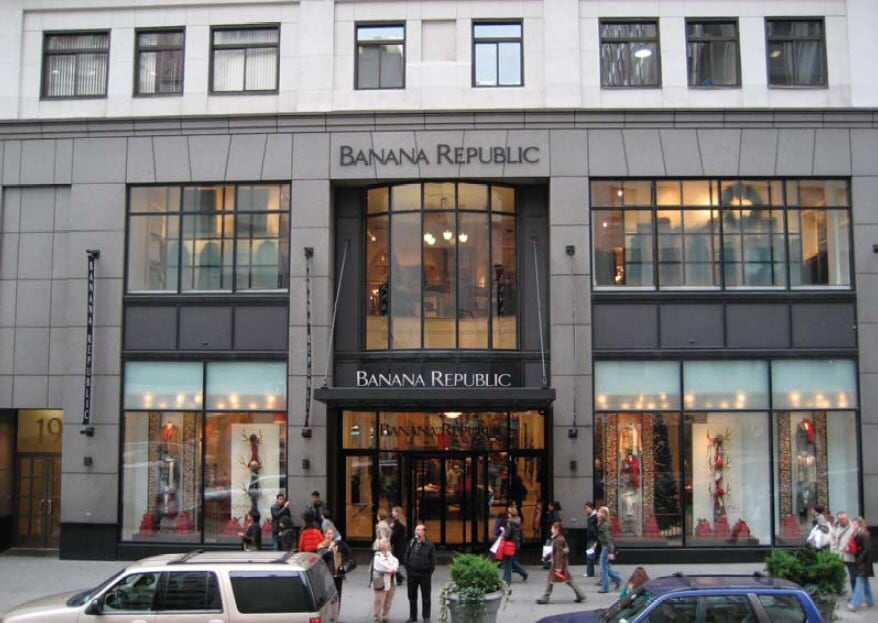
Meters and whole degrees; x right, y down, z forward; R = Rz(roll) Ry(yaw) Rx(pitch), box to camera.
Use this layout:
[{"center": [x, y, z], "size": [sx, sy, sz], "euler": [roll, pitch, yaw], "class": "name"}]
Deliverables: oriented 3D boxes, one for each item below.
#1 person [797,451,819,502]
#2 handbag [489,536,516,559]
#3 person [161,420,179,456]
[{"center": [11.558, 5.250, 38.447], "size": [0.658, 1.606, 0.220], "euler": [0, -7, -10], "class": "person"}, {"center": [1.865, 6.932, 35.966], "size": [0.745, 0.789, 0.537], "euler": [-2, -2, 8], "class": "handbag"}, {"center": [-8.642, 4.053, 39.209], "size": [0.508, 1.008, 0.118], "euler": [-1, -7, -3], "class": "person"}]
